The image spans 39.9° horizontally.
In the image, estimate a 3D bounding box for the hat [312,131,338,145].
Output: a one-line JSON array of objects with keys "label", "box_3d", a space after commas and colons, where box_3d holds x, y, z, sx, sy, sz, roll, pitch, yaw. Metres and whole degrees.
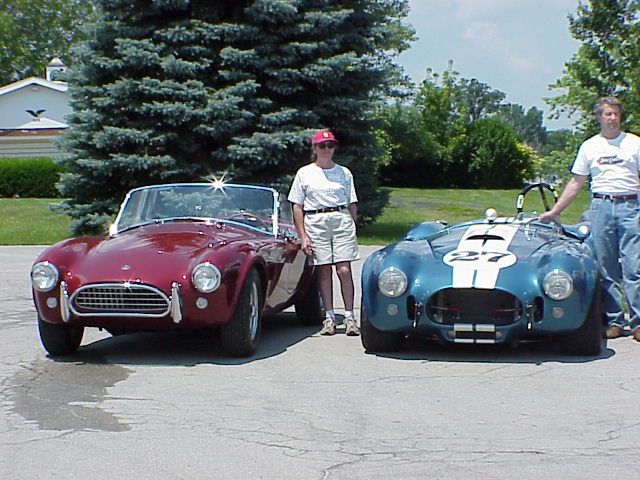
[{"label": "hat", "box_3d": [0.023, -1.052, 8.978, 0.229, 0.166, 0.355, -1, 7, -1]}]

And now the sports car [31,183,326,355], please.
[{"label": "sports car", "box_3d": [-1.342, 0.116, 7.961, 1.562, 0.968, 2.504, -1, -2, 16]}]

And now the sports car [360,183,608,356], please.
[{"label": "sports car", "box_3d": [1.816, 0.259, 9.098, 2.191, 1.076, 3.298, 0, 11, 17]}]

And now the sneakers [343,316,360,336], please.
[{"label": "sneakers", "box_3d": [0.312, 0.883, 8.951, 0.138, 0.198, 0.217, -1, 7, -1]}]
